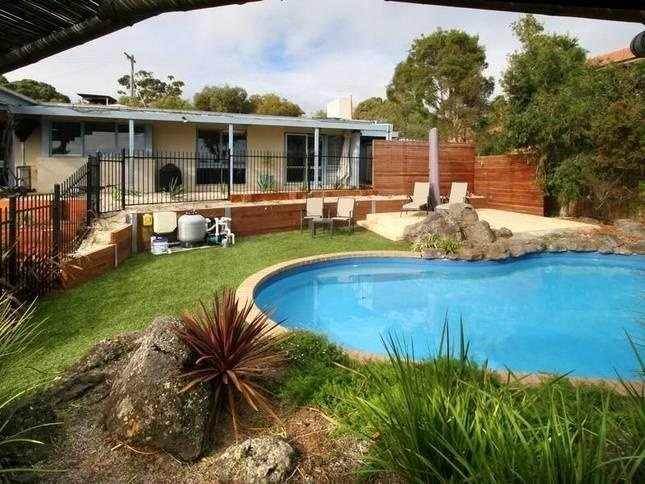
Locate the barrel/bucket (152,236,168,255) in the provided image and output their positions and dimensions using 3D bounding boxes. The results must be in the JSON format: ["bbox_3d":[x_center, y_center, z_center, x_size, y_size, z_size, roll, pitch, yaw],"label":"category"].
[{"bbox_3d":[-3.997,0.073,10.254,0.380,0.442,0.336,-3,9,-28],"label":"barrel/bucket"}]
